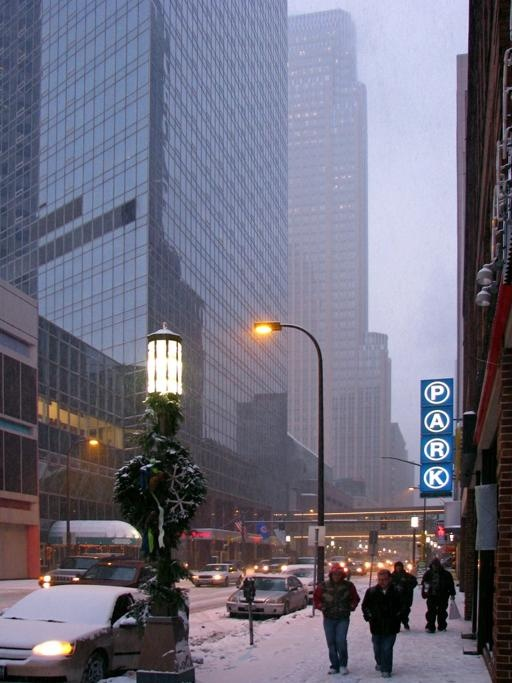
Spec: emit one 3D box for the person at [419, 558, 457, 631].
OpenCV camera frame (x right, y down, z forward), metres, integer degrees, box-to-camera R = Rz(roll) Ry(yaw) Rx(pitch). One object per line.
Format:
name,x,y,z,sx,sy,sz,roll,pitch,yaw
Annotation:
person,3.617,4.976,19.729,0.514,1.498,0.470,-1,12,7

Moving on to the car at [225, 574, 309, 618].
car,0.427,7.056,27.477,1.141,0.984,2.808,-5,-20,15

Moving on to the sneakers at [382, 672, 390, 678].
sneakers,1.793,4.593,13.692,0.106,0.104,0.044,1,-2,-5

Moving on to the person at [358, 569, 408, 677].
person,1.777,3.964,14.013,0.547,1.435,0.500,-3,-11,9

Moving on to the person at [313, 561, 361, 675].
person,1.188,4.091,14.693,0.651,1.524,0.747,-2,-11,4

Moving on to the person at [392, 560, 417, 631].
person,3.088,5.243,20.843,0.504,1.481,0.388,0,15,21
